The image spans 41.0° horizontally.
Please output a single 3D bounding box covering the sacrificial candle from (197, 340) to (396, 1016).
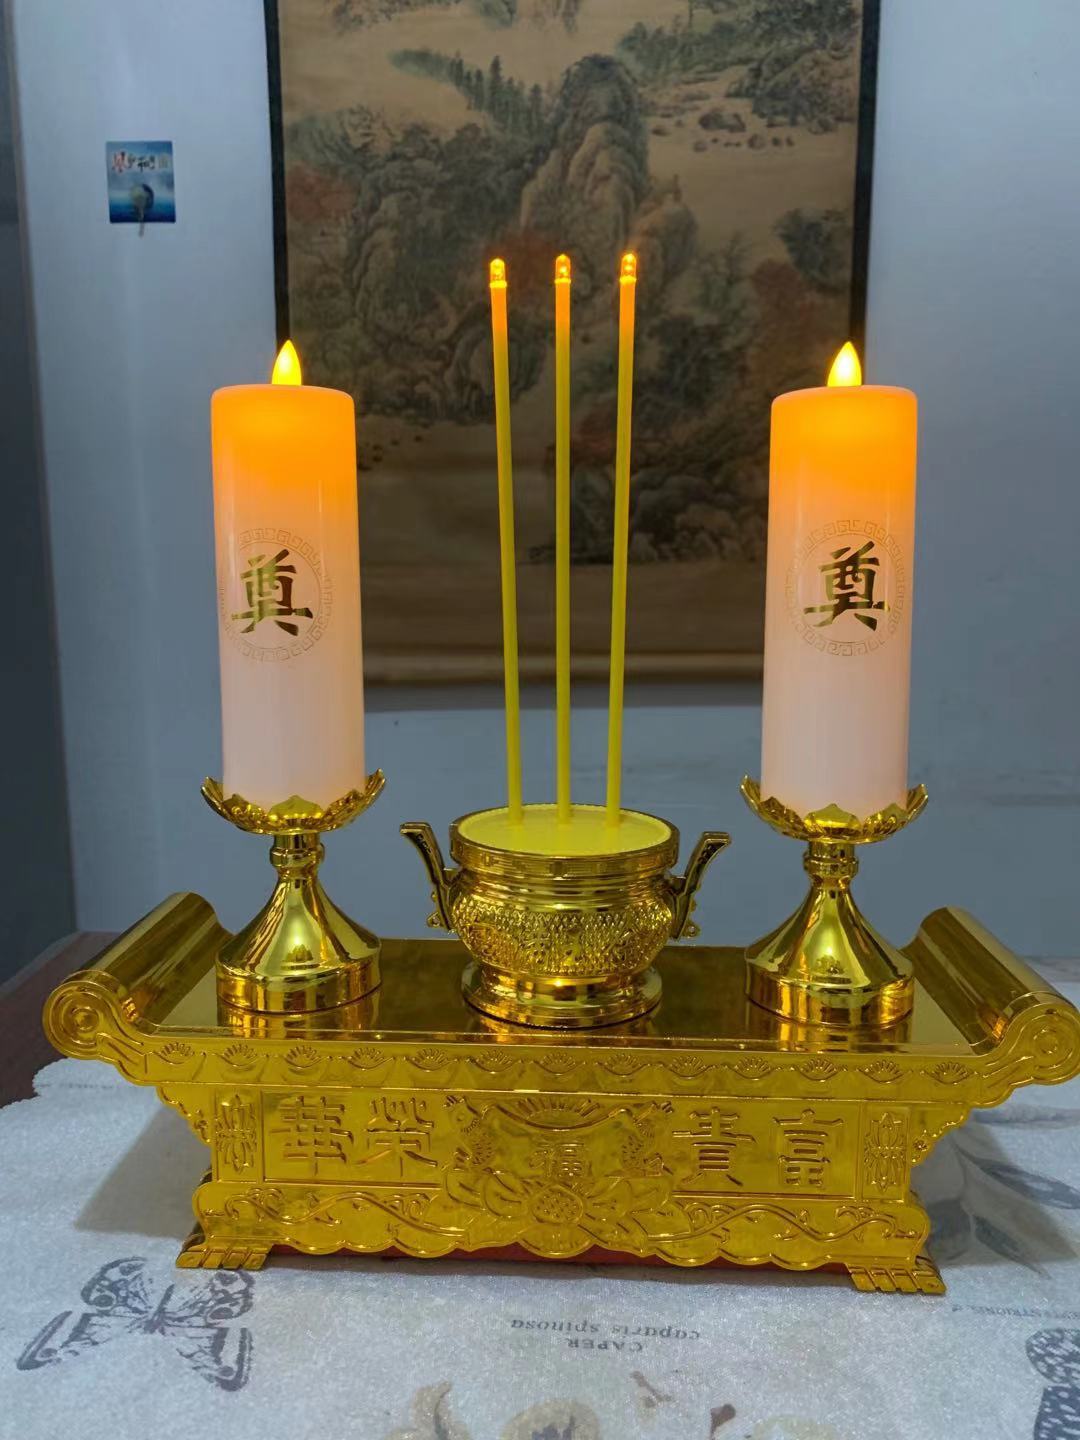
[{"bbox_3d":[-0.181,-0.032,1.034,0.126,0.467,0.171,-1,15,-2],"label":"sacrificial candle"}]

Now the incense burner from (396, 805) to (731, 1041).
[{"bbox_3d":[0.015,0.137,1.050,0.247,0.111,0.150,0,12,-5],"label":"incense burner"}]

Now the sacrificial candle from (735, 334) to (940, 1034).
[{"bbox_3d":[0.206,-0.025,1.010,0.125,0.464,0.162,1,15,7],"label":"sacrificial candle"}]
